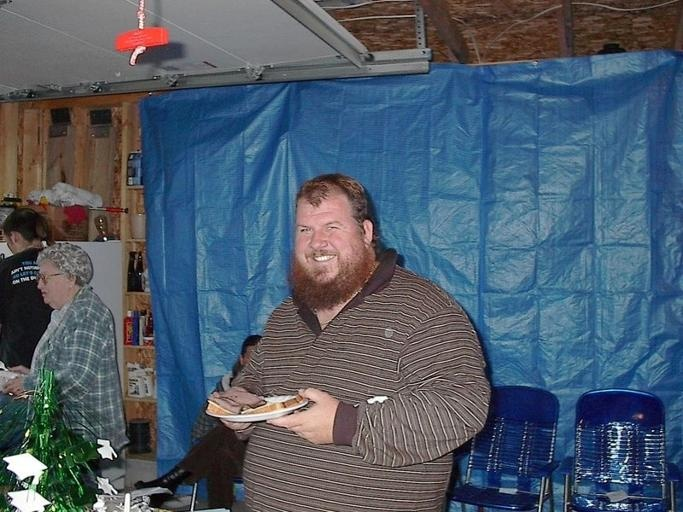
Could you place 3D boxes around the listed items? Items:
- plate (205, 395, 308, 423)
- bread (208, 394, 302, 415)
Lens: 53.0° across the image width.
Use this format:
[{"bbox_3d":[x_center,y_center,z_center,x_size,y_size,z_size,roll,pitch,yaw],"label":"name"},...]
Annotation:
[{"bbox_3d":[-0.322,0.581,2.593,0.386,0.111,0.160,0,-6,15],"label":"plate"},{"bbox_3d":[-0.305,0.562,2.573,0.244,0.029,0.121,-2,-5,18],"label":"bread"}]
